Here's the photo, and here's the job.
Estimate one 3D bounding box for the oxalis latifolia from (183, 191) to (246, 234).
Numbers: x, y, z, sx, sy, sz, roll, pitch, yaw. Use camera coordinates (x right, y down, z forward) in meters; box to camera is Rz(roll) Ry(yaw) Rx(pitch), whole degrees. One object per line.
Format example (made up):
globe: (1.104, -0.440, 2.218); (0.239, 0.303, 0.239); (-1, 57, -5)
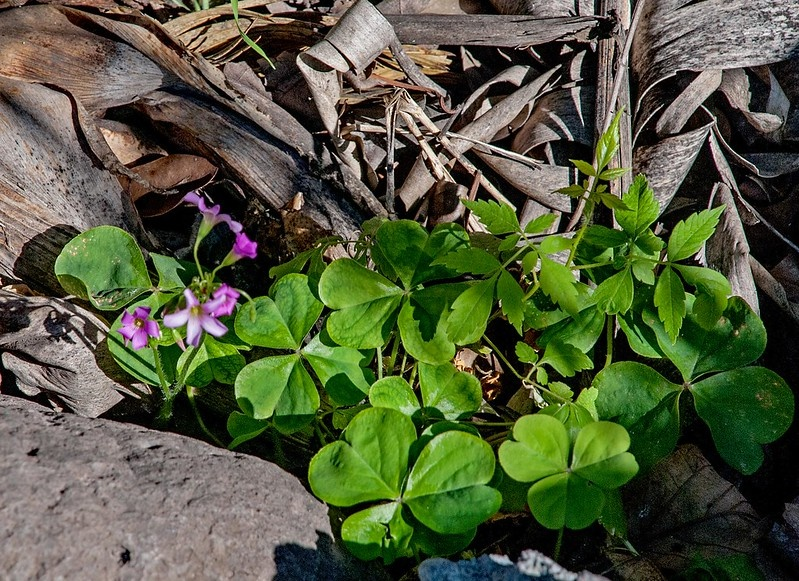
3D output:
oxalis latifolia: (-0.749, -0.297, 3.449); (0.226, 0.227, 0.076); (41, 85, 6)
